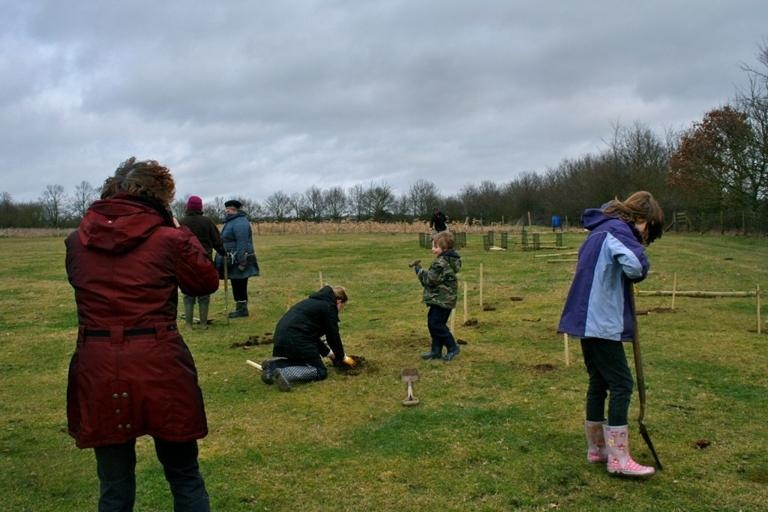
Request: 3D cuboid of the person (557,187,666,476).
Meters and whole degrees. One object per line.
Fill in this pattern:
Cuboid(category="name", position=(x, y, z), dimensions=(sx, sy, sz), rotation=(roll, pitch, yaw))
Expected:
Cuboid(category="person", position=(2.608, 0.856, 6.872), dimensions=(0.989, 3.086, 1.055), rotation=(4, 15, 21))

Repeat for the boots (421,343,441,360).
Cuboid(category="boots", position=(0.812, 1.665, 10.352), dimensions=(0.391, 0.358, 0.189), rotation=(5, 1, 6))

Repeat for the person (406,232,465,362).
Cuboid(category="person", position=(0.950, 0.712, 10.300), dimensions=(0.730, 2.293, 0.961), rotation=(-1, 14, 6))

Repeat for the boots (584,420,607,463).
Cuboid(category="boots", position=(2.581, 2.237, 7.101), dimensions=(0.494, 0.468, 0.234), rotation=(15, -22, -37))

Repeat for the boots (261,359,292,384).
Cuboid(category="boots", position=(-1.701, 1.783, 9.219), dimensions=(0.469, 0.214, 0.651), rotation=(-1, 38, -17))

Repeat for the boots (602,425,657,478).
Cuboid(category="boots", position=(2.681, 2.219, 6.792), dimensions=(0.752, 0.690, 0.369), rotation=(-1, -1, 6))
